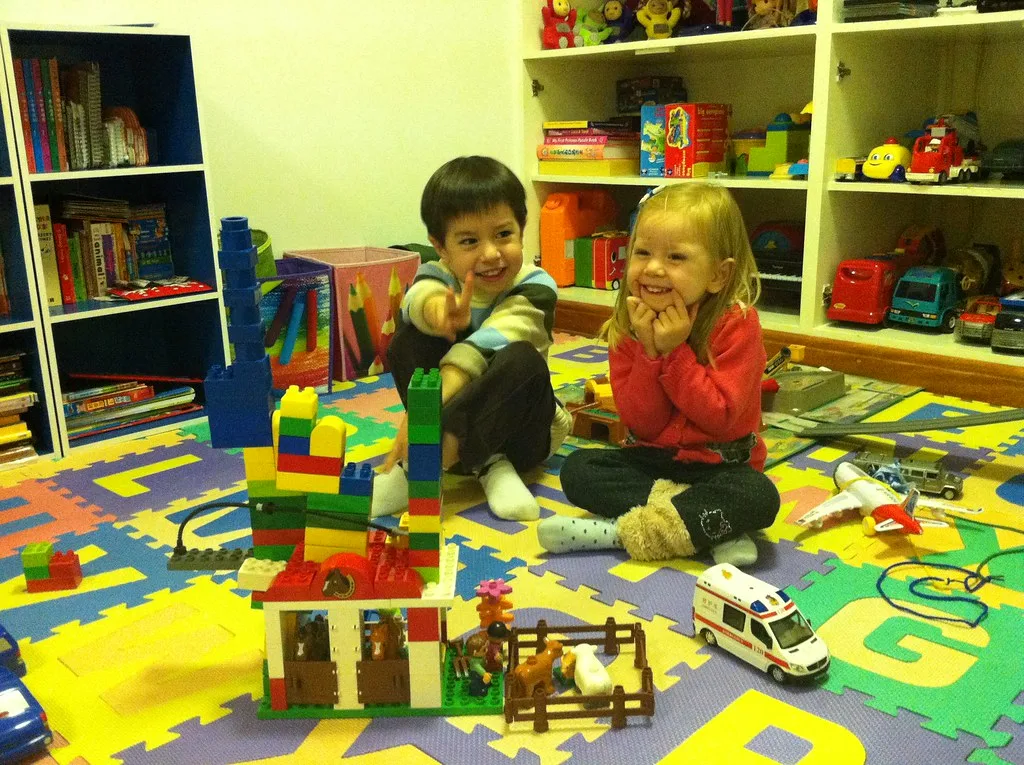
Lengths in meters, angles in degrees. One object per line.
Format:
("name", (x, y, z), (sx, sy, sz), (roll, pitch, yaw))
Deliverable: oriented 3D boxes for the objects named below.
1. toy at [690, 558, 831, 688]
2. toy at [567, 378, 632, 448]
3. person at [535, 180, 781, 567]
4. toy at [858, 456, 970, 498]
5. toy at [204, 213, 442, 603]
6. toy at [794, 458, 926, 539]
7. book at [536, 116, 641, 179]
("toy", (0.397, 0.369, 1.234), (0.112, 0.106, 0.213), (-20, 26, -32))
("toy", (0.223, 0.076, 1.995), (0.154, 0.149, 0.158), (-8, 23, -8))
("person", (0.315, -0.040, 1.540), (0.437, 0.693, 0.454), (2, 17, 18))
("toy", (0.891, 0.202, 1.696), (0.163, 0.055, 0.098), (6, 27, 21))
("toy", (-0.264, 0.034, 1.055), (0.332, 0.510, 0.204), (0, 16, 11))
("toy", (0.733, 0.217, 1.566), (0.151, 0.060, 0.156), (1, 18, -4))
("book", (0.313, -0.968, 3.204), (0.314, 0.147, 0.322), (14, 25, 35))
